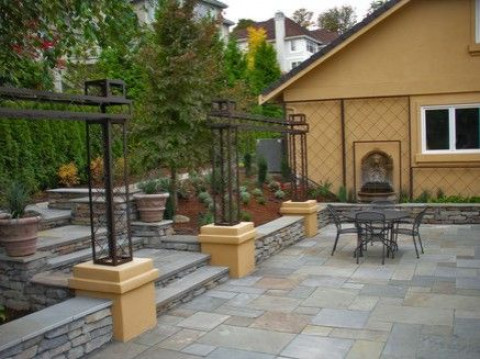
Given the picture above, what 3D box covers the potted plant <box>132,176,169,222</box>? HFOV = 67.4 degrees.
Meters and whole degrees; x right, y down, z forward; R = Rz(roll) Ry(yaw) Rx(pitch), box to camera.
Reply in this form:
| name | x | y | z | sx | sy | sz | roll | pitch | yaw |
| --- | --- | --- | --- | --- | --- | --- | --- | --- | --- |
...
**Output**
| name | x | y | z | sx | sy | sz | roll | pitch | yaw |
| --- | --- | --- | --- | --- | --- | --- | --- | --- | --- |
| potted plant | -1.852 | 0.457 | 7.760 | 0.818 | 0.868 | 0.874 | 0 | -4 | -4 |
